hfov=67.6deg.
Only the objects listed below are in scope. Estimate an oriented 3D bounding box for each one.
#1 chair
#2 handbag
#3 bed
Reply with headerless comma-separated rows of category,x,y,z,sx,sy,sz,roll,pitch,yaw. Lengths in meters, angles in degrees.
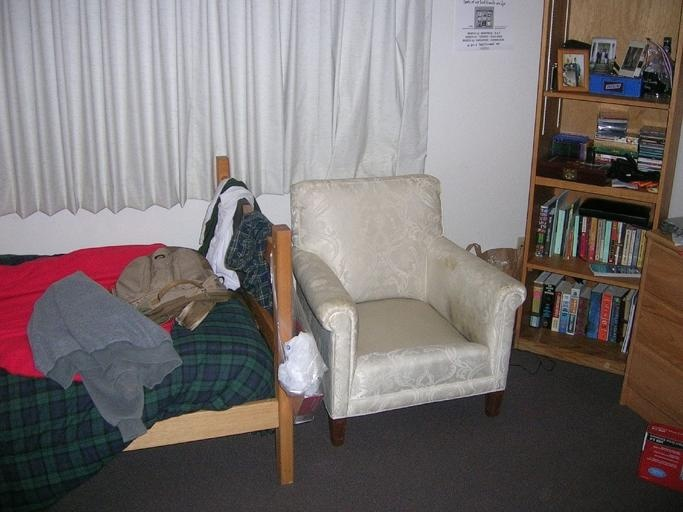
chair,0.292,0.234,2.861,1.246,1.158,1.378,4,17,16
handbag,-0.820,0.138,2.438,0.408,0.170,0.411,39,44,23
bed,-0.585,0.344,2.277,0.783,1.179,0.710,-2,-17,-10
